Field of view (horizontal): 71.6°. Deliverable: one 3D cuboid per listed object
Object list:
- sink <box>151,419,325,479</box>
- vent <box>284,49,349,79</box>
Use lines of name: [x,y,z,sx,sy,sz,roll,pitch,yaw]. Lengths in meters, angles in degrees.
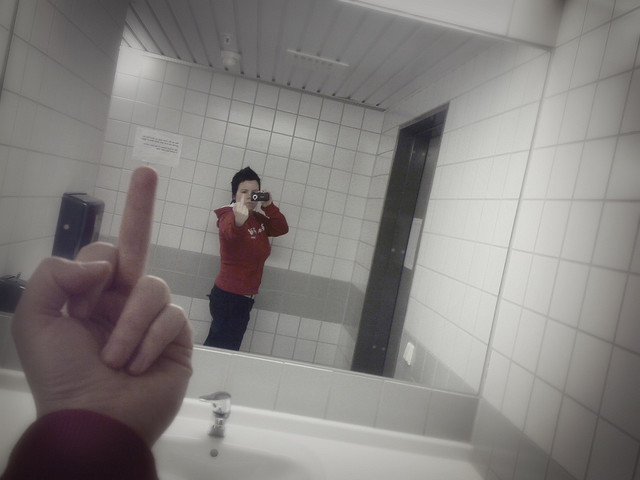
sink: [-0.269,0.616,1.268,0.421,0.097,0.273,12,18,-9]
vent: [-0.011,-0.544,1.373,0.194,0.077,0.013,9,1,-7]
